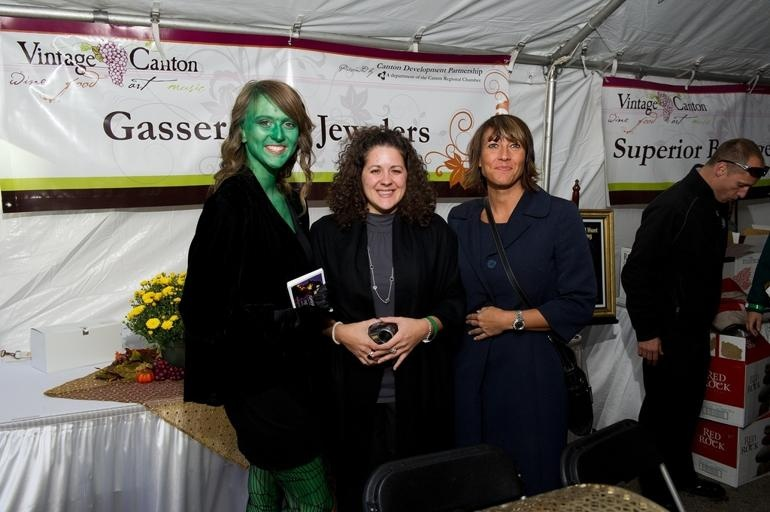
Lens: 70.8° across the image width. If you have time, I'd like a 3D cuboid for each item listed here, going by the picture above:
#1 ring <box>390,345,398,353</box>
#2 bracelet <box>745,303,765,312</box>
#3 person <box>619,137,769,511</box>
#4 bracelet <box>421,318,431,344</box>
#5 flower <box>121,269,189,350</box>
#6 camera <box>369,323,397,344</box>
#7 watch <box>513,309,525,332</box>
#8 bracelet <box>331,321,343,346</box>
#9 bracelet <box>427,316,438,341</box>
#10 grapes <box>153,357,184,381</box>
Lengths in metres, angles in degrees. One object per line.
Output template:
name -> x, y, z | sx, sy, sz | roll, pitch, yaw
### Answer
ring -> 0.044, 0.475, 2.765 | 0.040, 0.042, 0.014 | 10, 10, -14
bracelet -> 2.742, 0.381, 3.991 | 0.077, 0.033, 0.072 | 16, 0, 14
person -> 2.143, 0.475, 3.853 | 0.953, 2.491, 0.675 | -11, 18, -33
bracelet -> 0.223, 0.401, 2.832 | 0.082, 0.101, 0.036 | -5, 2, -36
flower -> -1.482, 0.336, 3.515 | 0.416, 0.420, 0.407 | -5, -7, -31
camera -> -0.012, 0.391, 2.767 | 0.126, 0.092, 0.131 | 1, 4, -2
watch -> 0.716, 0.347, 2.904 | 0.073, 0.107, 0.107 | 0, -7, 9
bracelet -> -0.267, 0.406, 2.882 | 0.021, 0.099, 0.097 | -5, -15, 7
bracelet -> 0.254, 0.378, 2.844 | 0.075, 0.110, 0.037 | 5, -6, -24
grapes -> -1.348, 0.690, 3.362 | 0.107, 0.114, 0.227 | -6, 7, -38
